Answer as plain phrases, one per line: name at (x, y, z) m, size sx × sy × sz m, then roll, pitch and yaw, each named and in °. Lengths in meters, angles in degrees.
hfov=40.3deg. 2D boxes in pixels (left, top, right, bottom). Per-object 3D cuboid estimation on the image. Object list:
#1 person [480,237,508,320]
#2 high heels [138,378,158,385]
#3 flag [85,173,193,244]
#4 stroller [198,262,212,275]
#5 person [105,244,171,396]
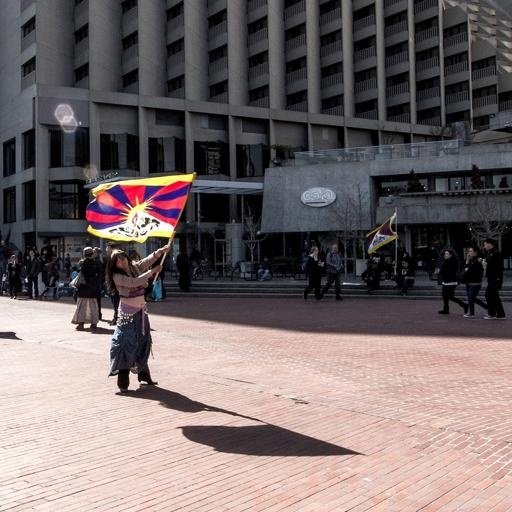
person at (5.382, 0.508, 15.695) m, size 0.472 × 1.851 × 0.952 m, roll 2°, pitch 0°, yaw 18°
high heels at (-1.294, 1.509, 8.405) m, size 0.257 × 0.114 × 0.085 m, roll 1°, pitch 5°, yaw 4°
flag at (-1.521, -0.624, 8.934) m, size 1.409 × 0.838 × 0.659 m, roll 2°, pitch 0°, yaw 22°
stroller at (-2.868, 0.690, 38.685) m, size 0.806 × 0.436 × 1.265 m, roll 0°, pitch -1°, yaw -2°
person at (-1.423, 0.695, 8.246) m, size 0.710 × 1.639 × 0.750 m, roll 2°, pitch 0°, yaw -9°
